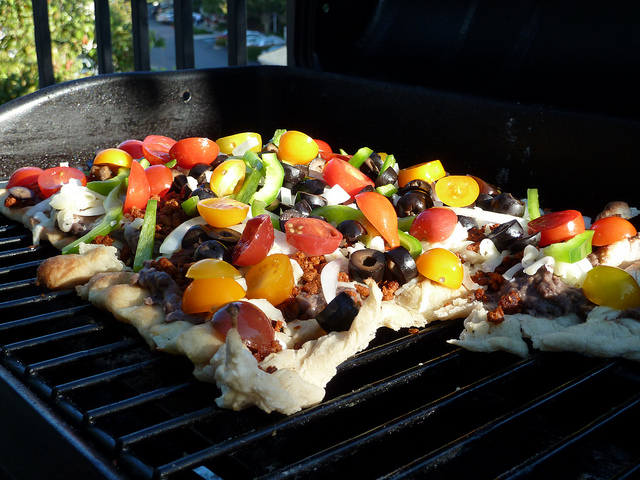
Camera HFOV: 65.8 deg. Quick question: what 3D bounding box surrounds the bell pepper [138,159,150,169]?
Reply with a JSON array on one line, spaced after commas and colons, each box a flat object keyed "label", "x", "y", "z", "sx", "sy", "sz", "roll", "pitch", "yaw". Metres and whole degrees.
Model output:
[{"label": "bell pepper", "x": -0.719, "y": -0.312, "z": 2.012, "sx": 0.040, "sy": 0.021, "sz": 0.040, "roll": 3, "pitch": 27, "yaw": -1}]

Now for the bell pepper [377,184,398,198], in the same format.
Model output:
[{"label": "bell pepper", "x": 0.255, "y": -0.188, "z": 1.865, "sx": 0.058, "sy": 0.021, "sz": 0.059, "roll": -13, "pitch": 26, "yaw": -28}]

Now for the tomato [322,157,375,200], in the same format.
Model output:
[{"label": "tomato", "x": 0.113, "y": -0.247, "z": 1.950, "sx": 0.230, "sy": 0.149, "sz": 0.203, "roll": -17, "pitch": 26, "yaw": -39}]

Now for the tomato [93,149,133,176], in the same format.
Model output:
[{"label": "tomato", "x": -0.807, "y": -0.310, "z": 1.949, "sx": 0.118, "sy": 0.091, "sz": 0.121, "roll": 0, "pitch": 5, "yaw": 23}]

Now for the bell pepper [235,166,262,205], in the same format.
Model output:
[{"label": "bell pepper", "x": -0.249, "y": -0.195, "z": 1.727, "sx": 0.069, "sy": 0.044, "sz": 0.195, "roll": -9, "pitch": -19, "yaw": -19}]

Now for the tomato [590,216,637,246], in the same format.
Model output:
[{"label": "tomato", "x": 0.882, "y": -0.028, "z": 1.473, "sx": 0.096, "sy": 0.037, "sz": 0.100, "roll": -1, "pitch": 24, "yaw": 21}]

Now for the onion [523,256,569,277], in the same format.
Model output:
[{"label": "onion", "x": 0.636, "y": 0.074, "z": 1.376, "sx": 0.079, "sy": 0.031, "sz": 0.078, "roll": -12, "pitch": 27, "yaw": -25}]

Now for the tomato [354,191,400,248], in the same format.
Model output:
[{"label": "tomato", "x": 0.185, "y": -0.072, "z": 1.531, "sx": 0.091, "sy": 0.150, "sz": 0.153, "roll": -11, "pitch": 22, "yaw": -32}]

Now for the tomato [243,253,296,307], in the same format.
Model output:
[{"label": "tomato", "x": -0.124, "y": 0.104, "z": 1.330, "sx": 0.133, "sy": 0.082, "sz": 0.130, "roll": -32, "pitch": 23, "yaw": 14}]

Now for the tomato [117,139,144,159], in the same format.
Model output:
[{"label": "tomato", "x": -0.827, "y": -0.404, "z": 2.162, "sx": 0.097, "sy": 0.053, "sz": 0.097, "roll": 20, "pitch": 29, "yaw": 12}]

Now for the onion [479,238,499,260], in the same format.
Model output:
[{"label": "onion", "x": 0.515, "y": 0.029, "z": 1.485, "sx": 0.046, "sy": 0.060, "sz": 0.021, "roll": -5, "pitch": -16, "yaw": -4}]

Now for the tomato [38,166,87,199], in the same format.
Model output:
[{"label": "tomato", "x": -0.952, "y": -0.240, "z": 1.831, "sx": 0.179, "sy": 0.114, "sz": 0.169, "roll": 13, "pitch": 23, "yaw": 31}]

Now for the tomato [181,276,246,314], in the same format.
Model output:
[{"label": "tomato", "x": -0.278, "y": 0.126, "z": 1.293, "sx": 0.191, "sy": 0.077, "sz": 0.173, "roll": -13, "pitch": 12, "yaw": -4}]

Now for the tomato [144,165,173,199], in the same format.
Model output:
[{"label": "tomato", "x": -0.603, "y": -0.212, "z": 1.818, "sx": 0.106, "sy": 0.063, "sz": 0.107, "roll": 41, "pitch": 49, "yaw": 18}]

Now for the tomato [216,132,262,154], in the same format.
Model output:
[{"label": "tomato", "x": -0.365, "y": -0.450, "z": 2.227, "sx": 0.169, "sy": 0.039, "sz": 0.105, "roll": -19, "pitch": 42, "yaw": -4}]

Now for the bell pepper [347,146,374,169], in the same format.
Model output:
[{"label": "bell pepper", "x": 0.165, "y": -0.354, "z": 2.095, "sx": 0.062, "sy": 0.032, "sz": 0.121, "roll": 18, "pitch": 59, "yaw": 27}]

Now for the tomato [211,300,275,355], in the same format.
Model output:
[{"label": "tomato", "x": -0.185, "y": 0.192, "z": 1.160, "sx": 0.126, "sy": 0.044, "sz": 0.119, "roll": 8, "pitch": 31, "yaw": -52}]

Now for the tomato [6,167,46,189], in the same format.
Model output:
[{"label": "tomato", "x": -1.126, "y": -0.240, "z": 1.887, "sx": 0.106, "sy": 0.071, "sz": 0.105, "roll": -13, "pitch": 28, "yaw": 9}]

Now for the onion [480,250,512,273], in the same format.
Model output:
[{"label": "onion", "x": 0.534, "y": 0.062, "z": 1.492, "sx": 0.120, "sy": 0.016, "sz": 0.042, "roll": -33, "pitch": 62, "yaw": -31}]

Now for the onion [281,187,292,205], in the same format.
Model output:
[{"label": "onion", "x": -0.122, "y": -0.160, "z": 1.797, "sx": 0.026, "sy": 0.069, "sz": 0.064, "roll": -6, "pitch": -9, "yaw": 8}]

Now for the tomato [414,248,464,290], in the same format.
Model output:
[{"label": "tomato", "x": 0.349, "y": 0.082, "z": 1.419, "sx": 0.147, "sy": 0.105, "sz": 0.094, "roll": 5, "pitch": 20, "yaw": 6}]

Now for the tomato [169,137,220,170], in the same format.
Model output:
[{"label": "tomato", "x": -0.494, "y": -0.348, "z": 2.034, "sx": 0.227, "sy": 0.113, "sz": 0.160, "roll": 11, "pitch": 24, "yaw": 34}]

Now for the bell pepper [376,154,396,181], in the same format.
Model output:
[{"label": "bell pepper", "x": 0.287, "y": -0.304, "z": 2.050, "sx": 0.030, "sy": 0.057, "sz": 0.113, "roll": 29, "pitch": 60, "yaw": 11}]

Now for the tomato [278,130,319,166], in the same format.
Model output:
[{"label": "tomato", "x": -0.088, "y": -0.376, "z": 2.027, "sx": 0.160, "sy": 0.122, "sz": 0.117, "roll": 11, "pitch": 10, "yaw": 5}]

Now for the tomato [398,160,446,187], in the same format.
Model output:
[{"label": "tomato", "x": 0.407, "y": -0.269, "z": 1.962, "sx": 0.125, "sy": 0.048, "sz": 0.123, "roll": -18, "pitch": 7, "yaw": -8}]
